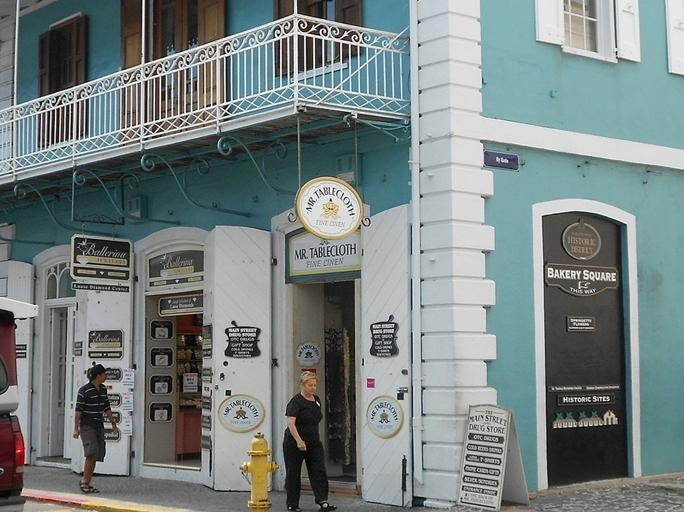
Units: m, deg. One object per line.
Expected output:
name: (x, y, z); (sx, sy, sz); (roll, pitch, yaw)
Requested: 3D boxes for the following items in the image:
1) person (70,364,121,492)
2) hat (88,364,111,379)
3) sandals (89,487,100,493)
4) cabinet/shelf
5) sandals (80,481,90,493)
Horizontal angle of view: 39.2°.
person: (-4.112, 2.818, 15.770); (0.577, 2.029, 0.401); (3, -11, -18)
hat: (-4.021, 1.918, 15.901); (0.342, 0.194, 0.230); (-27, 18, -24)
sandals: (-4.065, 3.809, 15.758); (0.149, 0.087, 0.305); (2, -13, -12)
cabinet/shelf: (-2.881, 2.470, 18.164); (0.266, 2.632, 0.644); (-8, -13, 35)
sandals: (-4.229, 3.734, 15.641); (0.211, 0.179, 0.094); (-11, -15, 41)
